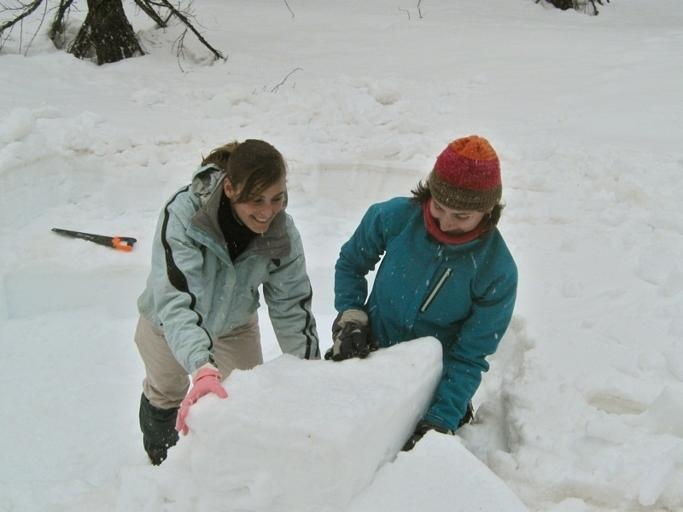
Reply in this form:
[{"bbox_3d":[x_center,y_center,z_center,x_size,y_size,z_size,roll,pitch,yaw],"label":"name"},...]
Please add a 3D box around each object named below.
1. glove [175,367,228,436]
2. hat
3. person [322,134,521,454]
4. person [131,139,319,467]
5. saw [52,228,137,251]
[{"bbox_3d":[-0.869,0.879,4.844,0.348,0.321,0.195,-20,39,-16],"label":"glove"},{"bbox_3d":[0.796,-0.509,5.094,0.443,0.403,0.338,-13,38,-7],"label":"hat"},{"bbox_3d":[0.604,0.094,5.318,1.002,2.381,1.047,11,23,20],"label":"person"},{"bbox_3d":[-0.818,0.349,5.472,1.189,2.382,1.113,1,21,-3],"label":"person"},{"bbox_3d":[-2.406,-0.192,7.758,0.888,0.114,0.197,10,42,20],"label":"saw"}]
